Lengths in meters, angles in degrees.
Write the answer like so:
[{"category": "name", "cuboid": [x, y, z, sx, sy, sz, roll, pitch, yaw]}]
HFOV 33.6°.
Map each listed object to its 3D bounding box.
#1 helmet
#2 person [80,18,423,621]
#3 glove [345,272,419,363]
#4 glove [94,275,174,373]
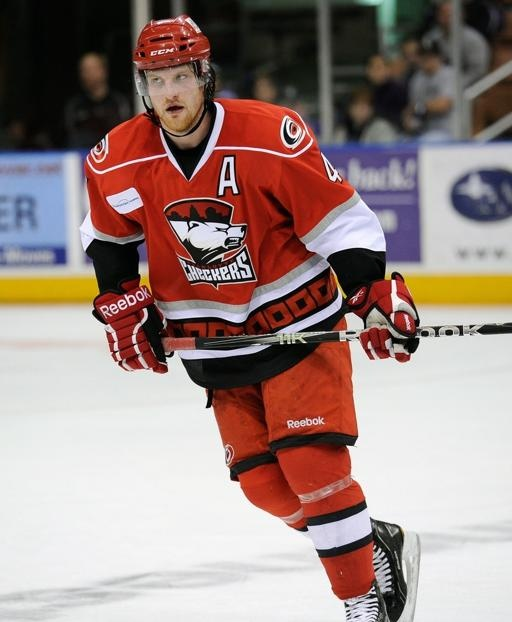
[{"category": "helmet", "cuboid": [-0.167, -0.519, 1.697, 0.155, 0.170, 0.167, -4, 9, -5]}, {"category": "person", "cuboid": [-0.019, 0.059, 1.792, 0.715, 1.348, 0.398, -3, 10, 8]}, {"category": "glove", "cuboid": [0.266, 0.008, 1.650, 0.079, 0.156, 0.162, -31, 9, 33]}, {"category": "glove", "cuboid": [-0.255, 0.027, 1.886, 0.181, 0.184, 0.083, -11, 11, 24]}]
